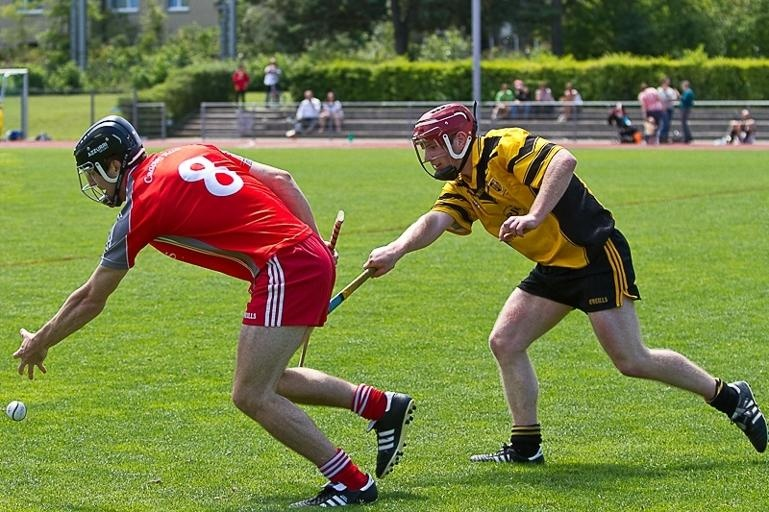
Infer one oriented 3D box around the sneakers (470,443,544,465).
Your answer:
[{"bbox_3d":[1.089,1.753,11.955,0.573,0.169,0.219,3,-13,4],"label":"sneakers"}]
